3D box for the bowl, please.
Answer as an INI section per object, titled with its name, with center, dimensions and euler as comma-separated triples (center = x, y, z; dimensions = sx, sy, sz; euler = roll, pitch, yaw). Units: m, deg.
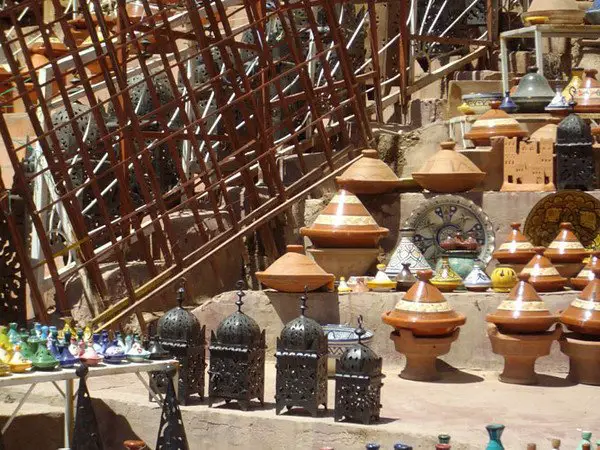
[bowl]
center = 0.414, 1.106, 9.236
dimensions = 0.431, 0.458, 0.593
euler = 1, 15, 1
